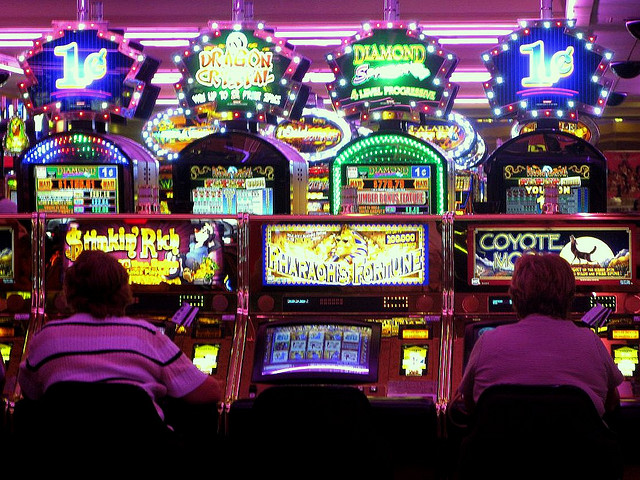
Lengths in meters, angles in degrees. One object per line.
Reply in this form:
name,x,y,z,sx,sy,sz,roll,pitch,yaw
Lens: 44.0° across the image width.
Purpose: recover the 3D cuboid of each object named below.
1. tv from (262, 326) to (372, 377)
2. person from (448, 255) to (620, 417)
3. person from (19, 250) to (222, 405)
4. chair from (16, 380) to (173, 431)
tv,-0.018,0.686,5.009,0.757,0.400,0.126,1,18,2
person,1.173,0.624,4.145,0.876,1.142,0.634,7,-15,-5
person,-0.984,0.488,4.138,1.176,0.884,0.648,-2,-1,3
chair,-1.018,0.728,3.554,0.375,0.138,0.278,1,-3,2
